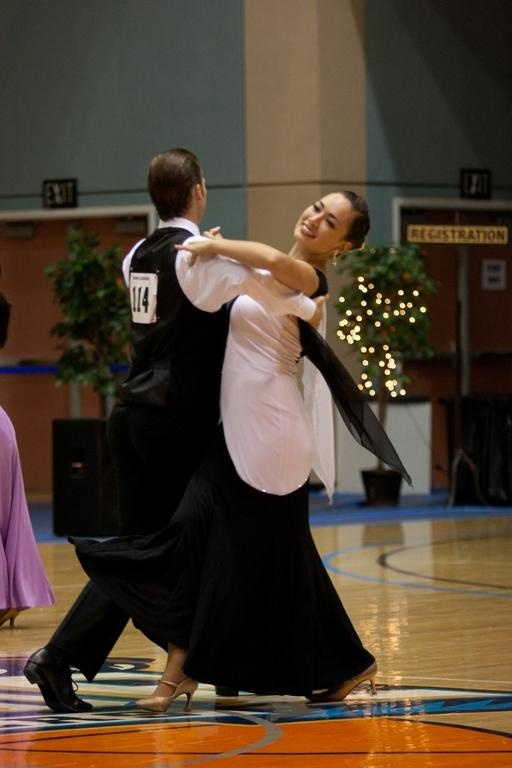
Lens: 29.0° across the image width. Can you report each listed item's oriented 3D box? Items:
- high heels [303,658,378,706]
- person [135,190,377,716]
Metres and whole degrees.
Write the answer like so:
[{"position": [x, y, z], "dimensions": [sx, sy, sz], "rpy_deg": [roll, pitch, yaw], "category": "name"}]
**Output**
[{"position": [0.217, 0.734, 2.434], "dimensions": [0.195, 0.078, 0.095], "rpy_deg": [-14, 0, -7], "category": "high heels"}, {"position": [0.040, 0.163, 2.314], "dimensions": [0.535, 1.214, 0.373], "rpy_deg": [1, -3, -43], "category": "person"}]
